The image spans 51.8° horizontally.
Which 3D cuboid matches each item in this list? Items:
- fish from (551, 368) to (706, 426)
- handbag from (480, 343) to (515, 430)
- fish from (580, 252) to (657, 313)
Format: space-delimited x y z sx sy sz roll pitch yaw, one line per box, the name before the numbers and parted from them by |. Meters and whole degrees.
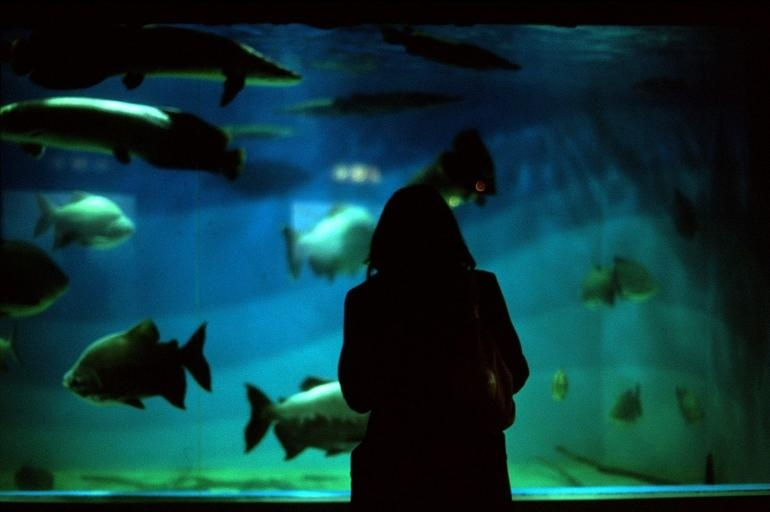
fish | 1.606 0.932 5.251 1.008 0.310 0.119 2 -25 -3
handbag | 0.616 0.716 4.301 0.093 0.387 0.243 -13 4 -28
fish | 1.544 0.174 5.283 0.474 0.301 0.181 -5 -6 -4
